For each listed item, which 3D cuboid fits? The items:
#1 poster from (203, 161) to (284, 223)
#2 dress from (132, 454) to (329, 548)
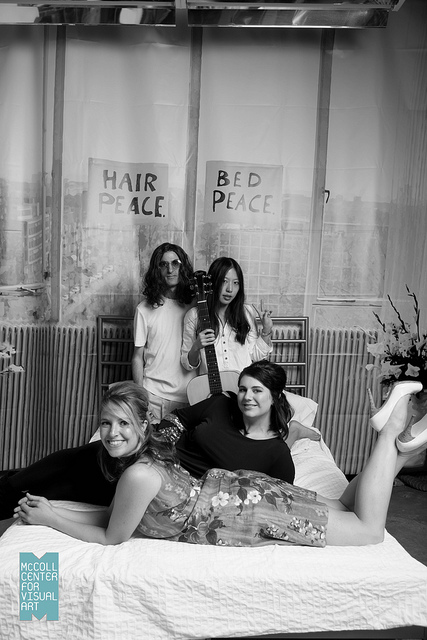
[{"bbox_3d":[0.181,-0.875,3.326,0.364,0.324,0.018,0,8,-4],"label":"poster"},{"bbox_3d":[0.065,0.458,1.428,0.411,0.171,0.306,3,-7,1],"label":"dress"}]
